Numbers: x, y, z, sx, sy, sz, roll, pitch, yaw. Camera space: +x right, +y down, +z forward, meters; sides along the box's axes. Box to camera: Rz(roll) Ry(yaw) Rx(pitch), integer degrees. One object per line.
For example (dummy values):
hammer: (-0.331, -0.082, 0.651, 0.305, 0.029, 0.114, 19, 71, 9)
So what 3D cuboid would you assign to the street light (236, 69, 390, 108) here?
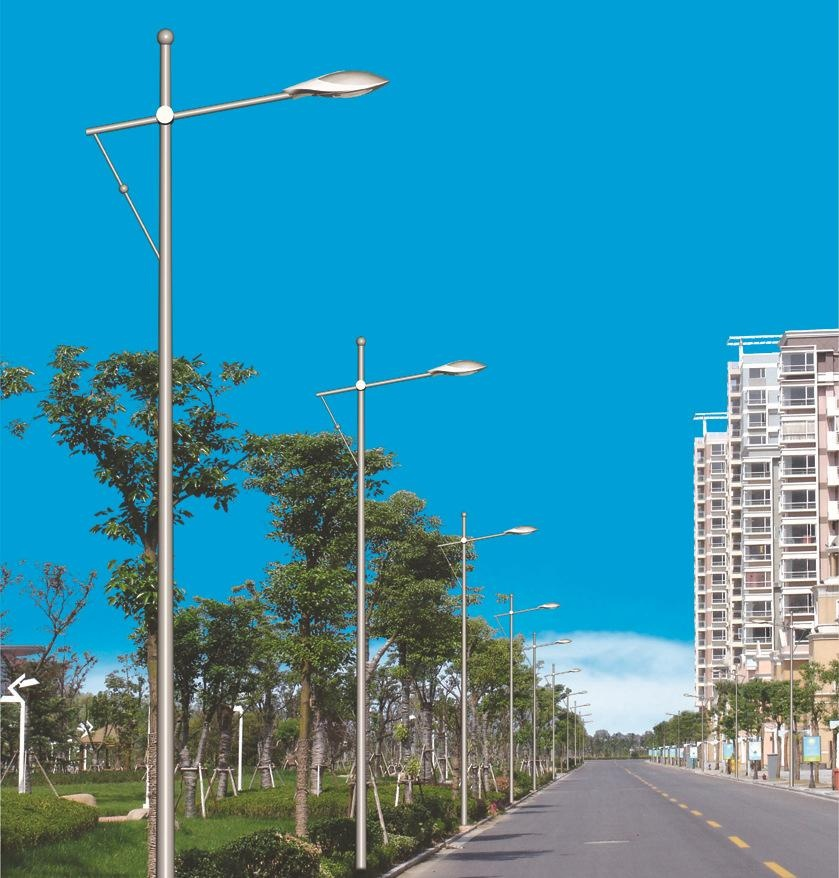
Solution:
street light: (-2.274, -8.372, 58.675, 2.942, 0.897, 0.890, -1, -14, -3)
